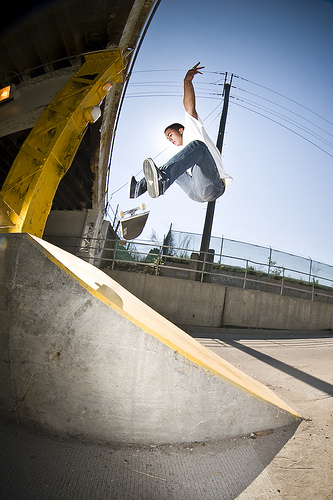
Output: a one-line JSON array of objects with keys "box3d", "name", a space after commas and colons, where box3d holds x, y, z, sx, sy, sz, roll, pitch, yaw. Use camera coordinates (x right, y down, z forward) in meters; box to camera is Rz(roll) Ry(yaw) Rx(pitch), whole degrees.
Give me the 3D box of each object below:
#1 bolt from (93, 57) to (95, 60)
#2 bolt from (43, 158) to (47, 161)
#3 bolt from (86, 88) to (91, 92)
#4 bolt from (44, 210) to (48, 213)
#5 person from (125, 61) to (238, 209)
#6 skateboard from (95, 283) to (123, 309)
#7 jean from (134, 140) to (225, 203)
[{"box3d": [-1.428, -3.621, 5.724, 0.042, 0.019, 0.049, 25, 22, 8], "name": "bolt"}, {"box3d": [-1.821, -1.293, 4.358, 0.043, 0.050, 0.027, 7, -9, -22], "name": "bolt"}, {"box3d": [-1.381, -2.717, 5.148, 0.080, 0.082, 0.020, 7, -2, 2], "name": "bolt"}, {"box3d": [-1.866, -0.565, 4.516, 0.012, 0.046, 0.051, 44, -19, 43], "name": "bolt"}, {"box3d": [0.230, -1.165, 3.521, 0.794, 1.178, 1.318, -1, -10, 28], "name": "person"}, {"box3d": [-0.303, 0.245, 1.571, 0.142, 0.110, 0.078, 6, -9, -13], "name": "skateboard"}, {"box3d": [0.241, -0.913, 3.722, 0.988, 0.600, 0.762, 5, -4, -17], "name": "jean"}]
